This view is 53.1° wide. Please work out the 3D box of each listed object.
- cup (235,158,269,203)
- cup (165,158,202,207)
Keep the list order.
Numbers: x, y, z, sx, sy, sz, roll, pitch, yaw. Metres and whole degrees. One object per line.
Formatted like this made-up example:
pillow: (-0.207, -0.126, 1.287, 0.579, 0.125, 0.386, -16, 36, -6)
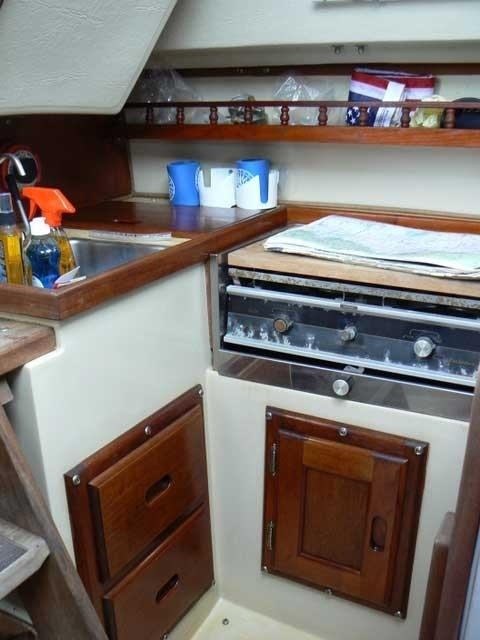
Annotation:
cup: (0.035, -0.469, 1.641, 0.116, 0.137, 0.119, 3, 20, -1)
cup: (-0.218, -0.506, 1.780, 0.149, 0.158, 0.114, 6, 18, 16)
